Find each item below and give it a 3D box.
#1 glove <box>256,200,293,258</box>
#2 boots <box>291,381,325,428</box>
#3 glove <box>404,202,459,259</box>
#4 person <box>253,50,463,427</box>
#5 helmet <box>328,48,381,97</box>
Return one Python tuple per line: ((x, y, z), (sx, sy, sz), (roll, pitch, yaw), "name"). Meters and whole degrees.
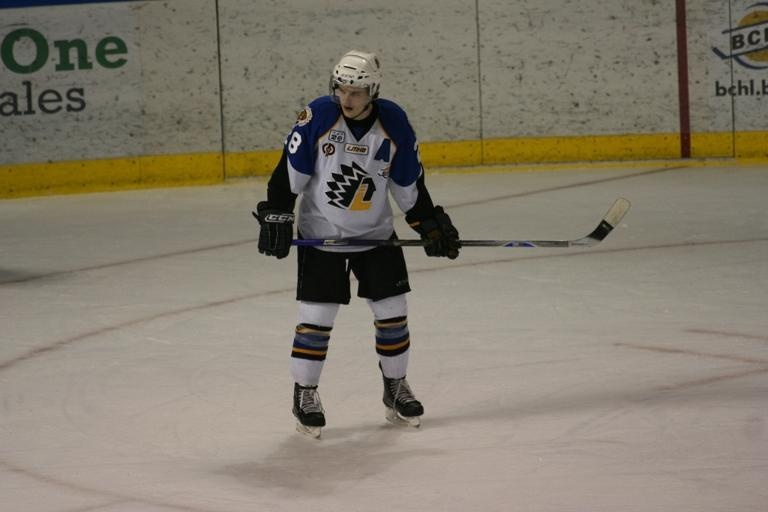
((-0.511, -0.122, 4.225), (0.272, 0.227, 0.100), (5, 3, -4), "glove")
((-0.354, 0.682, 4.181), (0.128, 0.159, 0.169), (-3, 7, -7), "boots")
((0.157, -0.108, 4.377), (0.179, 0.280, 0.442), (15, 9, 33), "glove")
((-0.123, -0.077, 4.245), (0.926, 1.756, 0.434), (-4, 8, -8), "person")
((-0.127, -0.858, 4.194), (0.218, 0.221, 0.247), (1, 10, 14), "helmet")
